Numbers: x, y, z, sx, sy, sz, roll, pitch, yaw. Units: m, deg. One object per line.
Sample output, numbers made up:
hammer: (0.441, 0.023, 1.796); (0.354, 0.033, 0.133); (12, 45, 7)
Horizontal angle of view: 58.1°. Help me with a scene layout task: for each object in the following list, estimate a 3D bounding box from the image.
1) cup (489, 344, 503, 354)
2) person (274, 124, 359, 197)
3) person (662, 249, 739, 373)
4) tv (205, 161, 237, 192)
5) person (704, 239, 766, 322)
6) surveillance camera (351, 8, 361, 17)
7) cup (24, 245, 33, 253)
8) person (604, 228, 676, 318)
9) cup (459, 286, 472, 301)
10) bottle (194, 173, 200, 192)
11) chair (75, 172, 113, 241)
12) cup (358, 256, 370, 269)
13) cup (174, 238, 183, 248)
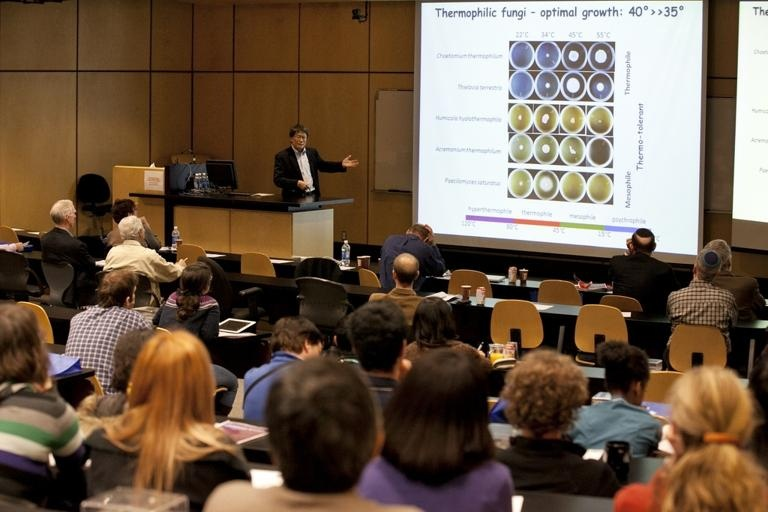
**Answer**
cup: (0.847, 0.688, 5.223); (0.083, 0.091, 0.089); (1, -2, 0)
person: (-1.026, -1.236, 9.294); (0.861, 0.971, 0.691); (1, 4, -21)
person: (2.788, 0.601, 6.160); (0.513, 1.378, 0.700); (0, 14, 9)
tv: (-2.252, -1.109, 9.539); (0.395, 0.378, 0.451); (1, 4, -18)
person: (3.409, 0.230, 6.706); (0.486, 1.044, 0.570); (-2, 38, 25)
surveillance camera: (-0.460, -3.992, 11.357); (0.126, 0.205, 0.069); (-1, -2, 6)
cup: (-4.394, -0.098, 8.546); (0.089, 0.069, 0.066); (5, 5, 44)
person: (2.662, 0.172, 7.128); (0.488, 1.153, 0.643); (5, 28, 12)
cup: (0.824, 0.367, 6.888); (0.118, 0.152, 0.127); (1, -2, 0)
bottle: (-2.606, -1.025, 9.609); (0.095, 0.228, 0.040); (3, 3, 20)
chair: (-4.793, -0.754, 11.648); (0.650, 1.198, 0.627); (-4, 3, -18)
cup: (-0.281, 0.070, 8.462); (0.123, 0.163, 0.202); (1, 2, 30)
cup: (-2.692, -0.175, 9.046); (0.130, 0.172, 0.140); (1, -2, 0)
